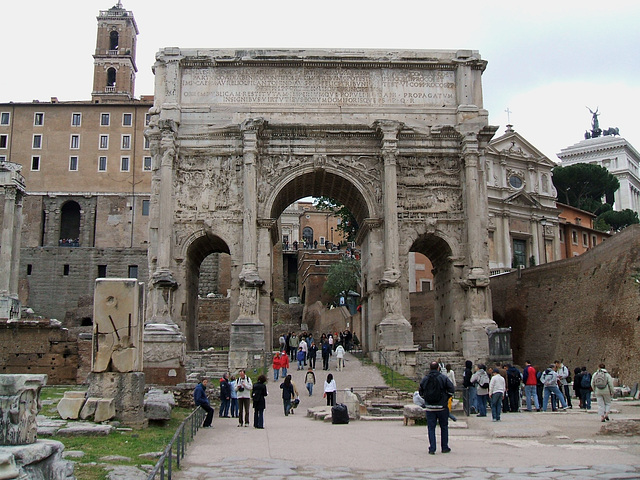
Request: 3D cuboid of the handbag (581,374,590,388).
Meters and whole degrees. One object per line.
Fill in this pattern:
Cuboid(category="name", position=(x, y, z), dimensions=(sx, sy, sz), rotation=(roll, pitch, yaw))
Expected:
Cuboid(category="handbag", position=(8.615, 4.585, 22.206), dimensions=(0.313, 0.433, 0.237), rotation=(6, -28, 2))

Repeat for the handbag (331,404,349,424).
Cuboid(category="handbag", position=(0.580, 5.081, 19.962), dimensions=(0.481, 0.520, 0.493), rotation=(-6, -5, 29))

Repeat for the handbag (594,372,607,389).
Cuboid(category="handbag", position=(7.841, 4.024, 19.119), dimensions=(0.362, 0.504, 0.488), rotation=(-3, -44, 18))
